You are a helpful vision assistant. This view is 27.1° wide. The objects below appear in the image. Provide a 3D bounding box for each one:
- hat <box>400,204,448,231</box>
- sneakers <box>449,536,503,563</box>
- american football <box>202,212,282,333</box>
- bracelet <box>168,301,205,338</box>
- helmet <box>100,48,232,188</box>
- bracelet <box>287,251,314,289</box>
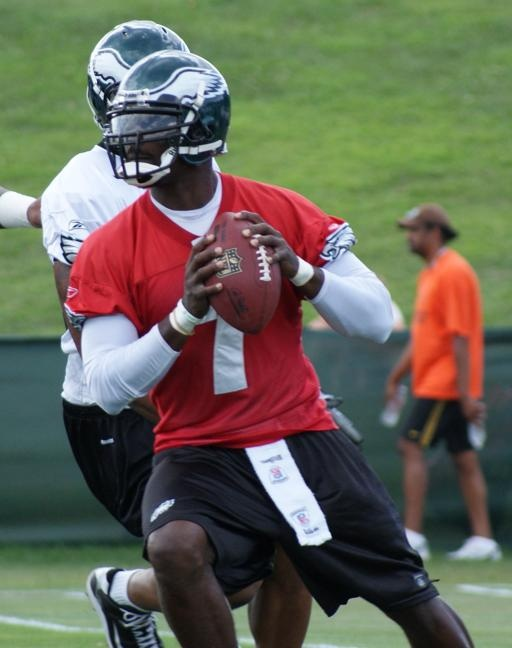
[{"bbox_3d":[0.937,-0.607,5.993,0.254,0.099,0.144,2,-2,2],"label":"hat"},{"bbox_3d":[1.216,1.219,5.738,0.382,0.125,0.113,-2,0,6],"label":"sneakers"},{"bbox_3d":[-0.030,-0.129,2.654,0.175,0.283,0.197,-6,22,2],"label":"american football"},{"bbox_3d":[-0.176,-0.013,2.573,0.083,0.065,0.091,20,11,13],"label":"bracelet"},{"bbox_3d":[-0.244,-0.562,2.810,0.292,0.288,0.357,10,22,35],"label":"helmet"},{"bbox_3d":[0.115,-0.129,2.673,0.072,0.067,0.064,1,6,-23],"label":"bracelet"}]
